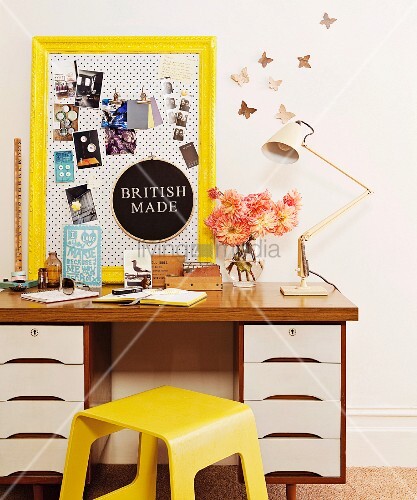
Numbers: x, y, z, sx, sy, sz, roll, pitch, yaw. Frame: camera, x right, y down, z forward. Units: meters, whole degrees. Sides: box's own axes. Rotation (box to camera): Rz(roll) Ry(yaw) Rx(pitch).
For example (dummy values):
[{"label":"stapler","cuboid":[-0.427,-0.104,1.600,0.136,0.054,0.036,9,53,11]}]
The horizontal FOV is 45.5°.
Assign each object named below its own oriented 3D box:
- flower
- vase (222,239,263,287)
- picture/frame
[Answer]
[{"label":"flower","cuboid":[0.170,-0.071,1.962,0.357,0.355,0.261,3,23,5]},{"label":"vase","cuboid":[0.123,0.053,1.998,0.169,0.247,0.164,2,-1,-2]},{"label":"picture/frame","cuboid":[-0.352,-0.410,2.035,0.986,1.412,0.059,0,0,-1]}]
